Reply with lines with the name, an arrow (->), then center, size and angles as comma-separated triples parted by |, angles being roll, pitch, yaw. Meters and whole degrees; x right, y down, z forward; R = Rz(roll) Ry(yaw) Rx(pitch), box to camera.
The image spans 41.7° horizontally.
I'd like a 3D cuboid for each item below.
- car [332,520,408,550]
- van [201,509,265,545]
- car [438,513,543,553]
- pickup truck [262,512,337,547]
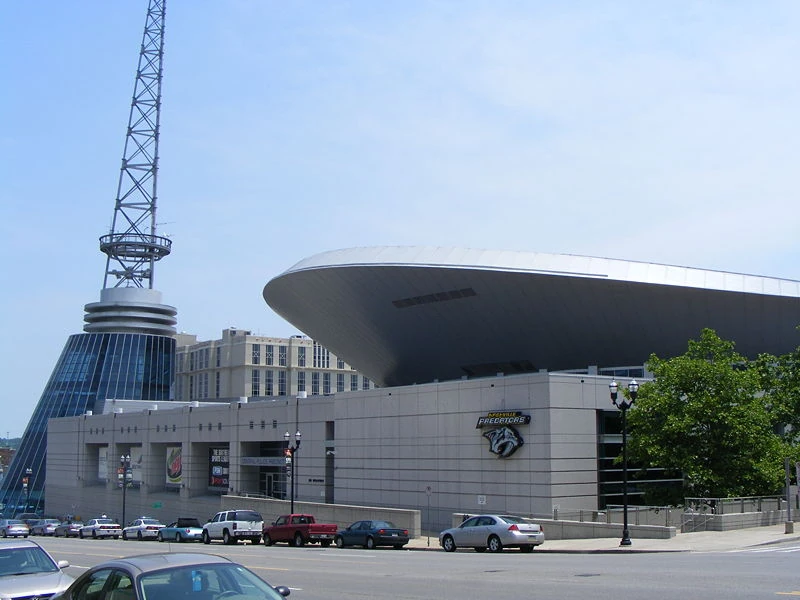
car -> -1.244, 10.487, 47.300 | 1.410, 0.851, 2.886 | 7, -7, -43
van -> -8.258, 11.362, 53.016 | 1.737, 1.250, 3.128 | 9, -11, -39
car -> 3.773, 9.753, 43.930 | 2.033, 1.383, 4.802 | 11, -17, -39
pickup truck -> -4.799, 10.906, 49.766 | 3.534, 1.609, 2.801 | -9, -13, 29
